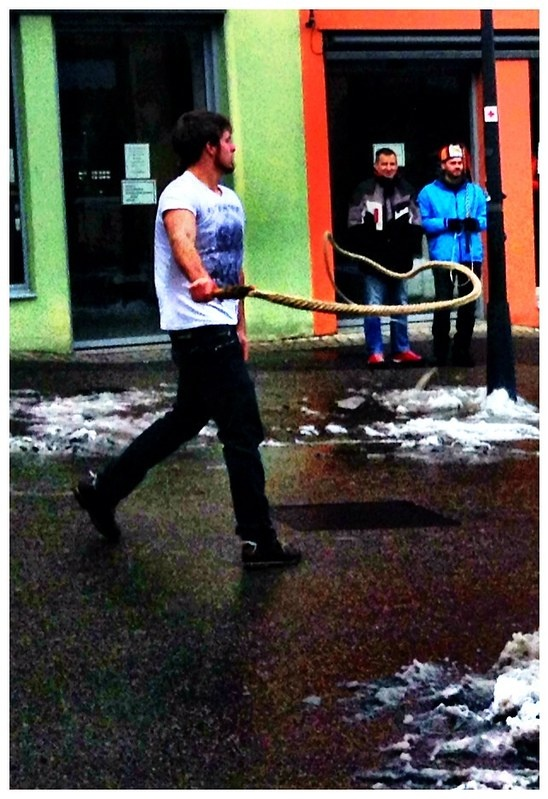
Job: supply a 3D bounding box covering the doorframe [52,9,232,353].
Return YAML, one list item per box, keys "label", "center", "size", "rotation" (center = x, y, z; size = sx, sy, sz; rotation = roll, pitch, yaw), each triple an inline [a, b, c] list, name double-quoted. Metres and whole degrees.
- label: "doorframe"
  center: [-1.219, -1.853, 10.058]
  size: [1.507, 3.552, 0.273]
  rotation: [-7, 47, -11]

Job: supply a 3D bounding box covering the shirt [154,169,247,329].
- label: "shirt"
  center: [-0.275, -0.561, 4.435]
  size: [0.361, 0.624, 0.501]
  rotation: [-2, 12, -10]

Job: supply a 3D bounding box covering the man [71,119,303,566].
- label: "man"
  center: [-0.349, -0.200, 4.533]
  size: [0.823, 1.842, 0.775]
  rotation: [7, 13, 31]

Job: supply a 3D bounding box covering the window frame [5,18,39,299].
- label: "window frame"
  center: [-2.095, -1.922, 9.203]
  size: [0.202, 2.221, 0.312]
  rotation: [-10, 15, -43]

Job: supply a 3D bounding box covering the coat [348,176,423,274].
- label: "coat"
  center: [0.865, -1.422, 8.754]
  size: [0.576, 0.780, 0.443]
  rotation: [-1, 40, 7]

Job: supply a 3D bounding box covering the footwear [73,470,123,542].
- label: "footwear"
  center: [-0.742, 0.488, 4.833]
  size: [0.057, 0.268, 0.244]
  rotation: [-32, 15, -16]

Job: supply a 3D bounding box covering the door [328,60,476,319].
- label: "door"
  center: [1.574, -2.330, 11.131]
  size: [1.379, 2.433, 1.609]
  rotation: [-5, 23, 18]

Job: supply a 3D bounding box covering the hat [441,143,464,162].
- label: "hat"
  center: [1.282, -1.776, 8.247]
  size: [0.158, 0.138, 0.182]
  rotation: [-3, 4, -3]

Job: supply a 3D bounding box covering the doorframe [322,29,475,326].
- label: "doorframe"
  center: [1.182, -2.079, 10.893]
  size: [1.540, 2.839, 1.573]
  rotation: [9, -8, -40]

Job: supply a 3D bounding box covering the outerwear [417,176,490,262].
- label: "outerwear"
  center: [1.316, -1.282, 8.320]
  size: [0.443, 0.673, 0.320]
  rotation: [-3, 0, 2]
